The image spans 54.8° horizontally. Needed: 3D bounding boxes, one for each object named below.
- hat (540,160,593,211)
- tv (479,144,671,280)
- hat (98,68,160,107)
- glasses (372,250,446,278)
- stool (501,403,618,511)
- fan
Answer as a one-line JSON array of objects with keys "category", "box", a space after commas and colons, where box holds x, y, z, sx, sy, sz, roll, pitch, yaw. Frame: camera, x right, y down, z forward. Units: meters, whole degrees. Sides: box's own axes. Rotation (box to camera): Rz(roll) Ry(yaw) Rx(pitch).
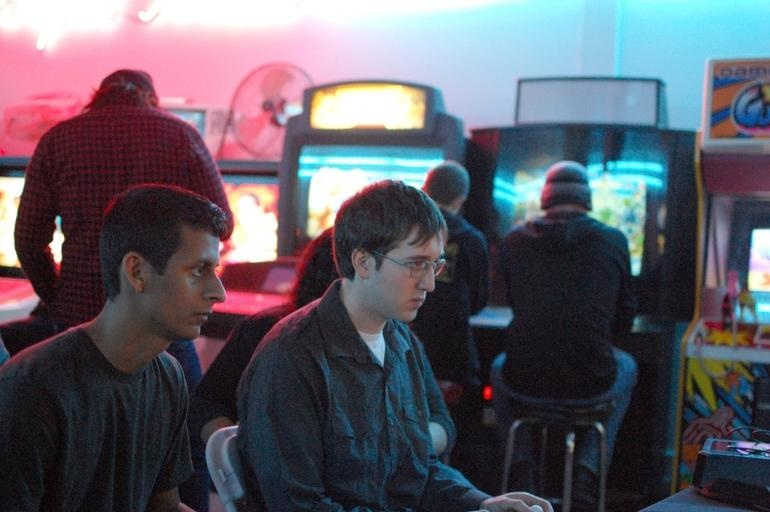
[{"category": "hat", "box": [0.963, -0.368, 3.922, 0.245, 0.246, 0.272, 2, 1, 13]}, {"category": "tv", "box": [1.040, 0.002, 3.947, 1.095, 0.751, 0.603, -1, -5, 22]}, {"category": "hat", "box": [-1.166, -0.750, 3.380, 0.233, 0.181, 0.167, -7, 1, -9]}, {"category": "glasses", "box": [0.092, 0.024, 2.627, 0.135, 0.041, 0.133, 17, 0, 28]}, {"category": "stool", "box": [0.889, 1.079, 3.969, 0.548, 0.573, 0.593, 3, -12, 1]}, {"category": "fan", "box": [-0.830, -0.999, 5.197, 0.704, 0.637, 0.165, 0, 2, 12]}]
